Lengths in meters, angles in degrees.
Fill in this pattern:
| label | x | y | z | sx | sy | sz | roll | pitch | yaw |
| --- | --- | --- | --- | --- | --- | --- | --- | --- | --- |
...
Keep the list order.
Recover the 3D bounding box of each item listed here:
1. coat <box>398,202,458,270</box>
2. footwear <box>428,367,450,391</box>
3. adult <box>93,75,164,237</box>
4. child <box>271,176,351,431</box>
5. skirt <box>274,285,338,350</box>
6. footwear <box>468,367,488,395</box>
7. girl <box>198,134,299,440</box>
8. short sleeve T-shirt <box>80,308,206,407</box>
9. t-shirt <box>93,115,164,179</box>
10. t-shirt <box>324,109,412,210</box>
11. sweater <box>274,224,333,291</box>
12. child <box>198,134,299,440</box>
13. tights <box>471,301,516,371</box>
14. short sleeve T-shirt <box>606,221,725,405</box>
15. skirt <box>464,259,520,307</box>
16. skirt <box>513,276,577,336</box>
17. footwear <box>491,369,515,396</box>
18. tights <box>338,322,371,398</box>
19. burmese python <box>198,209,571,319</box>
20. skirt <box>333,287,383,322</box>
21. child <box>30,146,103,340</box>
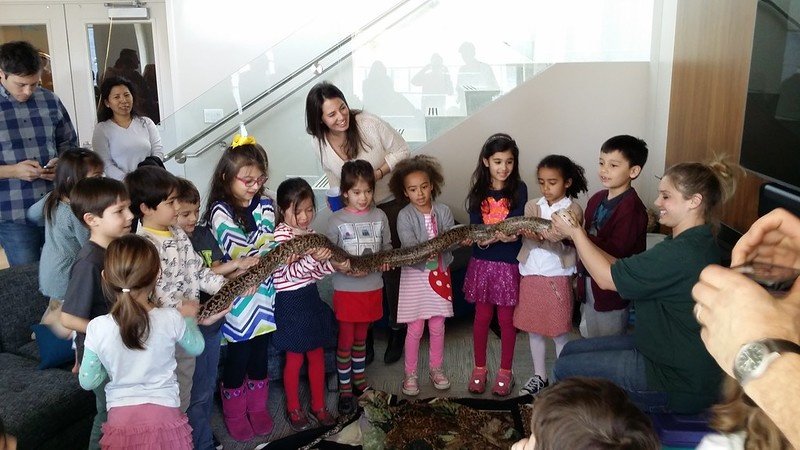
| label | x | y | z | sx | sy | sz | roll | pitch | yaw |
| --- | --- | --- | --- | --- | --- | --- | --- | --- | --- |
| coat | 0.238 | 0.101 | 4.958 | 0.621 | 0.721 | 0.410 | -6 | 2 | -25 |
| footwear | 0.372 | 1.428 | 5.096 | 0.106 | 0.100 | 0.263 | -2 | -2 | -15 |
| adult | -2.833 | -0.612 | 5.913 | 0.659 | 1.805 | 0.659 | 15 | 22 | 43 |
| child | -0.782 | 0.686 | 4.706 | 0.644 | 2.103 | 0.760 | -3 | -2 | -35 |
| skirt | -0.821 | 0.797 | 4.677 | 0.603 | 0.539 | 0.346 | -4 | 0 | -31 |
| footwear | 0.700 | 1.433 | 5.013 | 0.118 | 0.115 | 0.274 | 0 | 12 | 12 |
| girl | -1.239 | 0.585 | 4.595 | 0.659 | 2.412 | 0.998 | -5 | 10 | -28 |
| short sleeve T-shirt | -1.815 | 0.958 | 3.911 | 0.838 | 0.729 | 0.538 | -4 | 5 | -25 |
| t-shirt | -2.743 | -0.781 | 5.506 | 0.803 | 0.757 | 0.456 | -7 | 11 | -39 |
| t-shirt | -0.323 | -0.592 | 5.153 | 0.845 | 0.795 | 0.468 | -27 | 28 | 16 |
| sweater | -0.866 | 0.328 | 4.673 | 0.615 | 0.438 | 0.153 | 8 | 34 | -13 |
| child | -1.228 | 0.597 | 4.565 | 0.636 | 2.463 | 0.982 | -6 | 17 | -28 |
| tights | 0.873 | 0.877 | 5.059 | 0.389 | 1.185 | 0.226 | 3 | 21 | 14 |
| short sleeve T-shirt | 1.763 | 0.602 | 3.656 | 0.782 | 1.182 | 0.842 | 4 | 29 | 36 |
| skirt | 0.794 | 0.500 | 5.097 | 0.591 | 0.397 | 0.369 | 1 | -3 | 39 |
| skirt | 1.288 | 0.677 | 4.938 | 0.554 | 0.525 | 0.344 | 7 | 14 | 36 |
| footwear | 0.933 | 1.434 | 5.018 | 0.128 | 0.120 | 0.291 | 1 | 11 | 21 |
| tights | -0.395 | 1.194 | 4.962 | 0.378 | 0.848 | 0.225 | 0 | 17 | 2 |
| burmese python | -0.285 | 0.224 | 4.768 | 3.144 | 0.552 | 0.258 | -12 | -11 | 1 |
| skirt | -0.366 | 0.716 | 4.834 | 0.461 | 0.308 | 0.285 | -2 | 11 | 0 |
| child | -2.815 | 0.201 | 4.625 | 0.692 | 1.535 | 0.548 | 4 | 16 | -15 |
